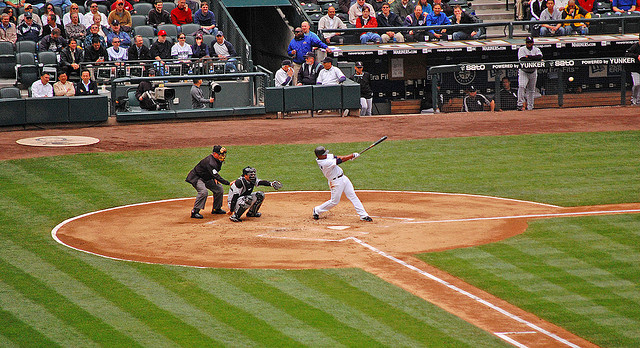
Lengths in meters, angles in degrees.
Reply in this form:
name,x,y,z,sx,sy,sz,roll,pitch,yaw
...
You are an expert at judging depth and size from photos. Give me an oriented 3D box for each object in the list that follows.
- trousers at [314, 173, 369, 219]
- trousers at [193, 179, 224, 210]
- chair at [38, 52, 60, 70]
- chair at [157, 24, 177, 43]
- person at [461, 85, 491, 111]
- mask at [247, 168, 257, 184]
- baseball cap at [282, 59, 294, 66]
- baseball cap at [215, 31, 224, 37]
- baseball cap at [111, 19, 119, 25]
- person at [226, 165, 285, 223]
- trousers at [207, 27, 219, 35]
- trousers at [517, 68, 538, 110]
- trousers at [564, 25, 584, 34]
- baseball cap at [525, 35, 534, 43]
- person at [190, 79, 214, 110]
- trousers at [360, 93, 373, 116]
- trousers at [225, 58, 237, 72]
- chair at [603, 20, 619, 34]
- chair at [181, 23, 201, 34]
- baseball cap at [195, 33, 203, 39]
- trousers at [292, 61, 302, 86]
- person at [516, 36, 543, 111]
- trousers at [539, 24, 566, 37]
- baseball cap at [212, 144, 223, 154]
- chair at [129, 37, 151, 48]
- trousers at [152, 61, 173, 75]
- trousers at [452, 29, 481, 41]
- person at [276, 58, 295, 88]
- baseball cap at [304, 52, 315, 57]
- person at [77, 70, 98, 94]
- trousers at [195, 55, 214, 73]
name,x,y,z,sx,sy,sz,roll,pitch,yaw
trousers,0.742,0.681,34.255,1.718,1.415,0.449,1,8,4
trousers,-3.634,0.647,34.728,1.077,1.028,0.503,-5,10,-39
chair,-10.854,-4.523,42.611,0.762,0.679,0.851,-2,7,-16
chair,-6.270,-5.980,45.165,1.032,0.886,0.946,-2,6,-17
person,6.571,-3.175,44.395,1.141,1.066,0.238,1,8,5
mask,-2.150,0.036,34.424,0.248,0.471,0.458,1,7,4
baseball cap,-1.254,-4.561,43.742,0.443,0.131,0.236,-8,10,-12
baseball cap,-4.188,-5.897,44.611,0.372,0.120,0.475,-1,0,2
baseball cap,-8.428,-6.252,43.855,0.307,0.218,0.332,-1,6,-9
person,-2.252,0.626,34.619,2.414,1.266,1.215,-5,8,-26
trousers,-4.511,-6.105,45.486,0.459,0.225,0.647,14,6,4
trousers,8.725,-3.509,44.382,0.748,1.635,0.427,1,8,7
trousers,11.167,-6.290,46.399,0.910,0.393,0.292,-3,8,-30
baseball cap,8.837,-5.621,44.229,0.364,0.182,0.403,0,-1,4
person,-4.769,-3.211,43.013,0.951,1.260,0.718,-12,44,-10
trousers,1.988,-2.830,44.404,0.496,0.778,0.574,0,7,-2
trousers,-3.650,-4.513,43.882,0.424,0.516,0.625,0,7,-2
chair,12.873,-6.460,46.760,1.004,0.609,0.592,1,12,7
chair,-5.430,-6.156,45.213,0.633,0.512,0.534,-1,0,-5
baseball cap,-4.928,-5.695,43.902,0.358,0.225,0.288,-2,0,-8
trousers,-0.922,-4.205,44.559,0.342,0.910,0.344,0,8,-1
person,8.810,-4.158,44.407,0.990,3.028,0.682,-1,8,-7
trousers,10.197,-6.172,46.323,1.108,0.318,0.613,1,10,1
baseball cap,-3.350,-0.822,35.093,0.422,0.395,0.183,3,48,-4
chair,-7.373,-5.465,43.931,0.679,0.566,0.585,1,-11,-13
trousers,-6.352,-4.244,42.989,0.966,0.574,0.276,0,2,-4
trousers,6.386,-6.021,46.308,0.917,0.509,0.835,-3,-4,-35
person,-1.375,-4.155,43.858,0.753,1.070,1.433,0,6,-1
baseball cap,-0.376,-4.893,43.733,0.362,0.188,0.534,0,6,0
person,-9.102,-3.576,41.668,0.447,0.877,0.751,6,9,36
trousers,-4.710,-4.501,43.620,0.579,0.692,0.648,-3,8,-22
